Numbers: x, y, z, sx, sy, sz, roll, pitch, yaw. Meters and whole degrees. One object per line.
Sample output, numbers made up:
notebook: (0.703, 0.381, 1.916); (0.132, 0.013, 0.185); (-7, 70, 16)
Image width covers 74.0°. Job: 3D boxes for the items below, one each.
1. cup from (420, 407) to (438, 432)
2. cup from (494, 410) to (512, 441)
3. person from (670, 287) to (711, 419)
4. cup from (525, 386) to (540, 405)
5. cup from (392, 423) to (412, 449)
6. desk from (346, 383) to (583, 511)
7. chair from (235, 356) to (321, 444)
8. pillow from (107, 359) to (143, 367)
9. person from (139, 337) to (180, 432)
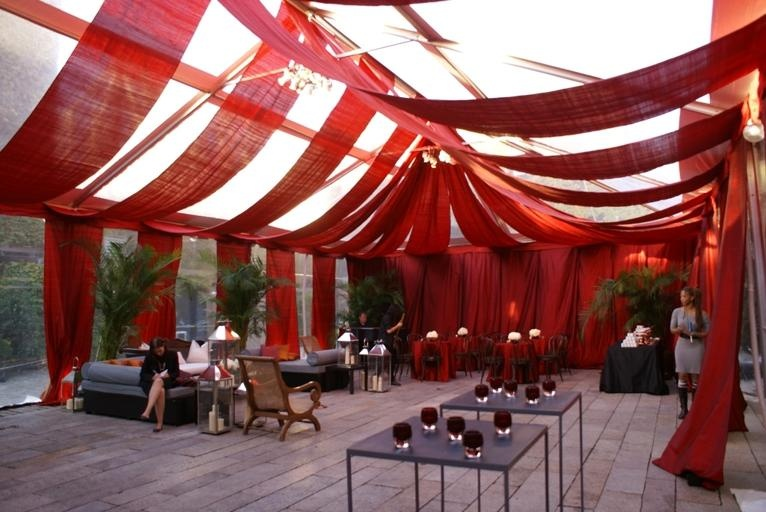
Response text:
cup: (0.456, 1.575, 4.942); (0.222, 0.179, 0.204); (-1, -4, 0)
cup: (1.121, 1.557, 4.720); (0.210, 0.218, 0.199); (-3, 0, 0)
person: (4.796, 1.478, 7.876); (0.487, 2.065, 1.075); (-2, -11, 31)
cup: (1.633, 1.487, 5.501); (0.219, 0.181, 0.207); (-2, -1, 0)
cup: (0.170, 1.560, 4.430); (0.226, 0.212, 0.173); (-3, -4, 8)
desk: (1.175, 2.209, 5.796); (1.942, 1.035, 1.680); (-4, -4, 26)
chair: (-1.653, 2.158, 8.382); (1.272, 1.549, 1.403); (-4, -3, 37)
pillow: (-4.760, 1.948, 9.326); (0.362, 0.090, 0.273); (-1, -7, 15)
person: (-3.793, 2.120, 8.518); (0.621, 1.448, 0.653); (5, -10, -6)
